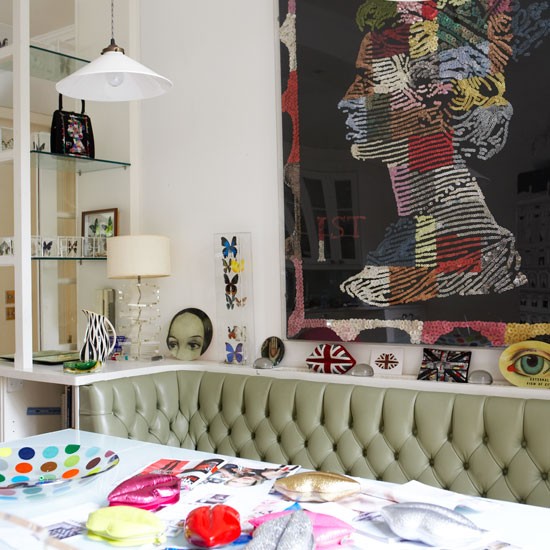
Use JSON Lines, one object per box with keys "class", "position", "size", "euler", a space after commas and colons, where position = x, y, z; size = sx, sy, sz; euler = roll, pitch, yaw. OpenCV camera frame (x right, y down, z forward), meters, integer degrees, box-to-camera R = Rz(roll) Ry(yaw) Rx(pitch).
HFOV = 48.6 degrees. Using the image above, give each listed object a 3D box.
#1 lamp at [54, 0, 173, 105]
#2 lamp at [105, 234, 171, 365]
{"class": "lamp", "position": [-0.563, -0.728, 2.125], "size": [0.284, 0.286, 0.285], "euler": [-3, 3, -39]}
{"class": "lamp", "position": [-0.750, 0.129, 3.350], "size": [0.336, 0.669, 0.524], "euler": [1, -4, -3]}
